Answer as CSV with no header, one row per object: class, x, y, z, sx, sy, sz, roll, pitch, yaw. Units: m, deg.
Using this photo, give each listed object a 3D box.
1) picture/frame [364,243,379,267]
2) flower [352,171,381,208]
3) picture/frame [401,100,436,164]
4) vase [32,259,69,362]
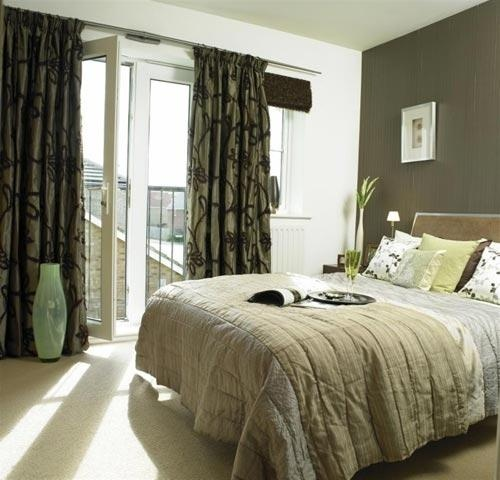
picture/frame,1.150,0.142,4.428,0.013,0.213,0.172,7,9,-16
flower,1.239,-0.495,4.930,0.222,0.355,0.442,2,6,13
picture/frame,1.587,-1.007,4.400,0.071,0.517,0.383,-3,7,-29
vase,-1.422,0.515,3.311,0.219,0.698,0.182,-2,6,-27
